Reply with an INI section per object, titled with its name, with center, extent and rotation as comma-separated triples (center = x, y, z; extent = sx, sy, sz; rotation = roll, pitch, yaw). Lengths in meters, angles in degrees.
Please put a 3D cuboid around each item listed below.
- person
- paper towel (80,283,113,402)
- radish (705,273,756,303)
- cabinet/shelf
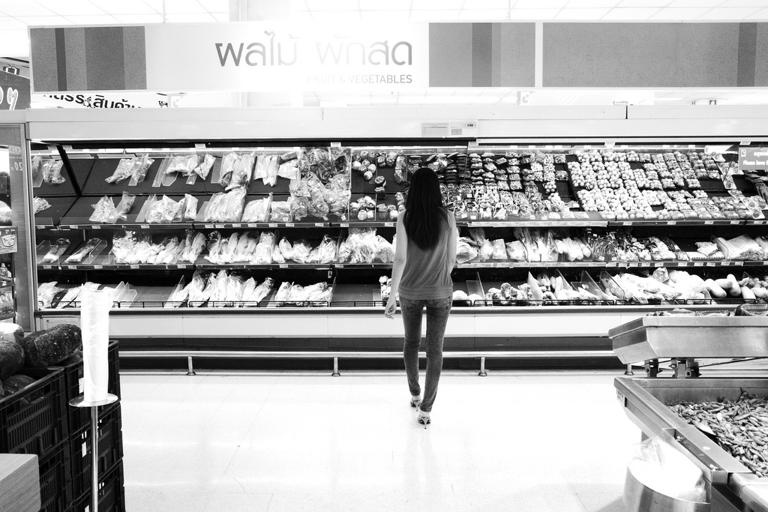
[person]
center = 0.283, 0.318, 4.834
extent = 0.553, 2.000, 0.372
rotation = 1, 9, 6
[paper towel]
center = -1.546, 0.598, 3.274
extent = 0.127, 0.107, 0.404
rotation = 10, 26, -27
[radish]
center = 3.294, 0.304, 5.768
extent = 0.515, 0.233, 0.259
rotation = 2, 9, 11
[cabinet/shelf]
center = 0.184, -0.288, 5.956
extent = 6.835, 1.521, 0.937
rotation = 1, 9, 1
